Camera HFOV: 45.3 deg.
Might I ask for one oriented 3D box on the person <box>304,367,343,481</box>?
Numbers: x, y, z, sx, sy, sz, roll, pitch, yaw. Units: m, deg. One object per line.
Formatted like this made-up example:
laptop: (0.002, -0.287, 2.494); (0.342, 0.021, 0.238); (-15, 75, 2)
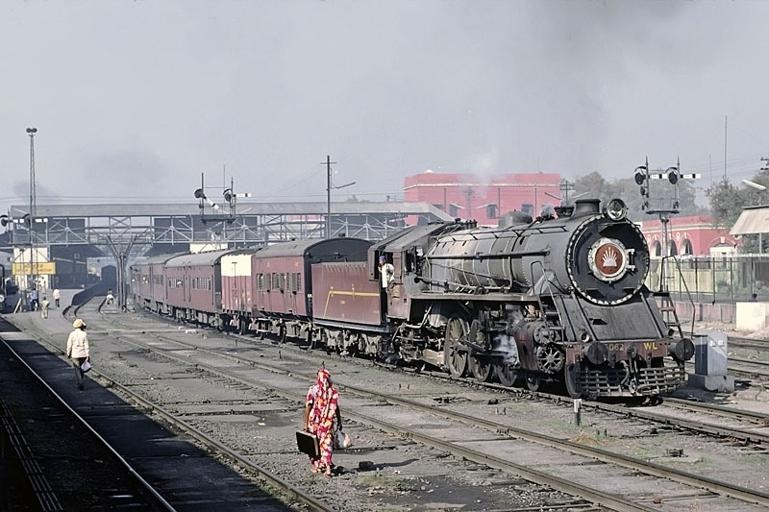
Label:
person: (-1.358, 3.582, 19.901); (0.753, 2.287, 0.650); (-2, 0, -2)

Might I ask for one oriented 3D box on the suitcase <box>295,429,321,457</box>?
suitcase: (-1.655, 4.079, 19.851); (0.584, 0.559, 0.207); (-2, 0, 39)

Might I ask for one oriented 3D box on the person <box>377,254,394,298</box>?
person: (0.053, 0.686, 33.300); (0.310, 1.219, 0.807); (-1, 3, -30)
